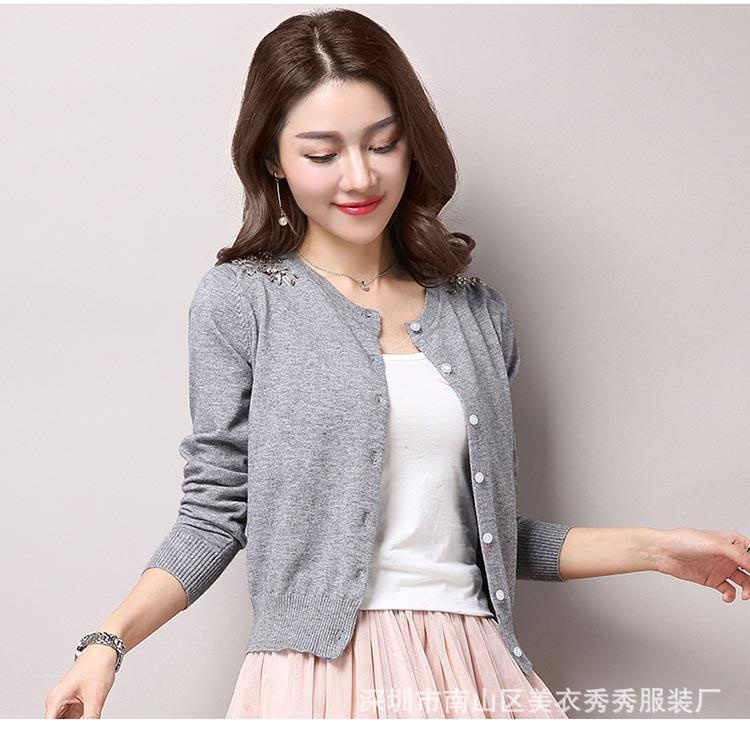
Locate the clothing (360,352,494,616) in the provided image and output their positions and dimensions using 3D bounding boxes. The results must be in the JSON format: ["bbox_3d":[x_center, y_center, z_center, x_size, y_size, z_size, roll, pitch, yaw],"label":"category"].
[{"bbox_3d":[0.088,0.208,1.410,0.202,0.454,0.236,-1,9,6],"label":"clothing"}]

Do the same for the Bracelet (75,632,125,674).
[{"bbox_3d":[-0.431,0.433,1.279,0.088,0.073,0.037,4,2,-16],"label":"Bracelet"}]
